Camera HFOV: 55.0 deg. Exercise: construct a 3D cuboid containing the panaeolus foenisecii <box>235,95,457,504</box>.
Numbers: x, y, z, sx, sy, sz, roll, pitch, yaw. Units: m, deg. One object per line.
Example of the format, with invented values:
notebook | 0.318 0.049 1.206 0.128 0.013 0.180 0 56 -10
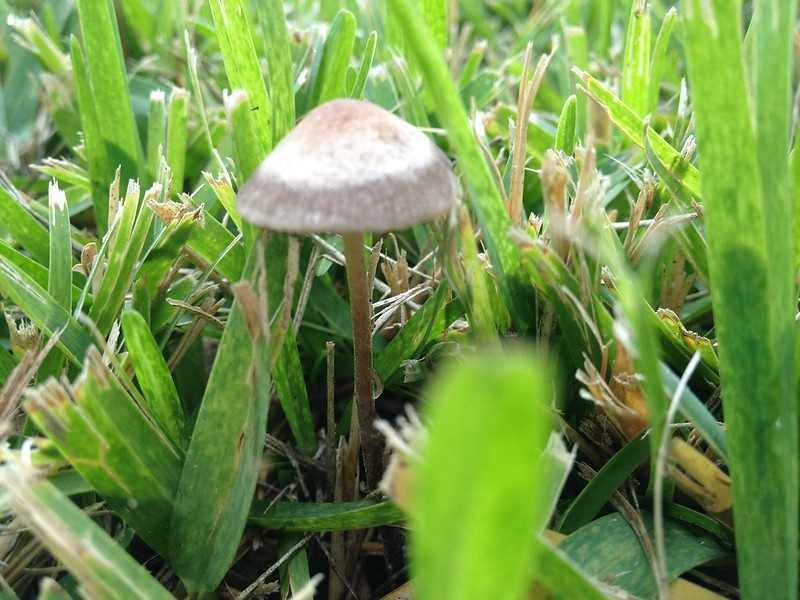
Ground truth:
panaeolus foenisecii | -0.045 -0.097 1.020 0.283 0.663 0.330 -1 24 -3
